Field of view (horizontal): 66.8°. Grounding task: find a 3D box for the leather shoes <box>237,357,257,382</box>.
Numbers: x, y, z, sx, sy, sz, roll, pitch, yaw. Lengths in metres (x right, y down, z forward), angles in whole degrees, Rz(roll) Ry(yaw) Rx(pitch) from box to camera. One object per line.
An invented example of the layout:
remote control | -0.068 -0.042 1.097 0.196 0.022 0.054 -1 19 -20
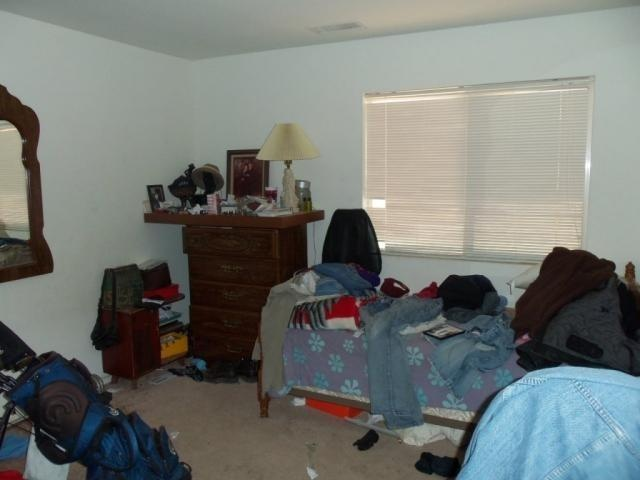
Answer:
leather shoes | -0.628 1.132 4.277 0.206 0.172 0.104 3 12 18

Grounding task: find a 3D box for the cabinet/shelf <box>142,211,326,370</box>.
cabinet/shelf | -0.930 0.248 4.624 1.326 1.237 0.855 -7 29 -17

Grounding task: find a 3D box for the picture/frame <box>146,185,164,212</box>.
picture/frame | -1.558 -0.387 4.550 0.018 0.252 0.224 -1 8 31

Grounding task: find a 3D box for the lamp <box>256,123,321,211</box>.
lamp | -0.274 -0.615 4.186 0.414 0.748 0.371 -10 15 -41

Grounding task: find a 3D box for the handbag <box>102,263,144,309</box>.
handbag | -1.721 0.404 4.192 0.225 0.402 0.338 12 11 43

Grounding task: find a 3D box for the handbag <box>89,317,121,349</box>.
handbag | -1.815 0.787 4.097 0.216 0.289 0.122 -14 -13 5

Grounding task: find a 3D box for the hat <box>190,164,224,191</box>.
hat | -1.063 -0.576 4.581 0.277 0.261 0.198 -3 11 -15

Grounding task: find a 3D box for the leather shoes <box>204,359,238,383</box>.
leather shoes | -0.877 1.140 4.299 0.257 0.100 0.160 -2 32 -3

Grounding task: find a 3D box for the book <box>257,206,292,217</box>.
book | -0.384 -0.242 4.152 0.305 0.054 0.118 -2 11 -11

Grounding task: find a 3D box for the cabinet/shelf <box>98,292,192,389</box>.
cabinet/shelf | -1.601 0.887 4.470 0.448 0.681 0.782 0 6 14

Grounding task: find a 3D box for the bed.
bed | 0.435 0.609 3.497 1.299 0.638 1.050 2 8 22
